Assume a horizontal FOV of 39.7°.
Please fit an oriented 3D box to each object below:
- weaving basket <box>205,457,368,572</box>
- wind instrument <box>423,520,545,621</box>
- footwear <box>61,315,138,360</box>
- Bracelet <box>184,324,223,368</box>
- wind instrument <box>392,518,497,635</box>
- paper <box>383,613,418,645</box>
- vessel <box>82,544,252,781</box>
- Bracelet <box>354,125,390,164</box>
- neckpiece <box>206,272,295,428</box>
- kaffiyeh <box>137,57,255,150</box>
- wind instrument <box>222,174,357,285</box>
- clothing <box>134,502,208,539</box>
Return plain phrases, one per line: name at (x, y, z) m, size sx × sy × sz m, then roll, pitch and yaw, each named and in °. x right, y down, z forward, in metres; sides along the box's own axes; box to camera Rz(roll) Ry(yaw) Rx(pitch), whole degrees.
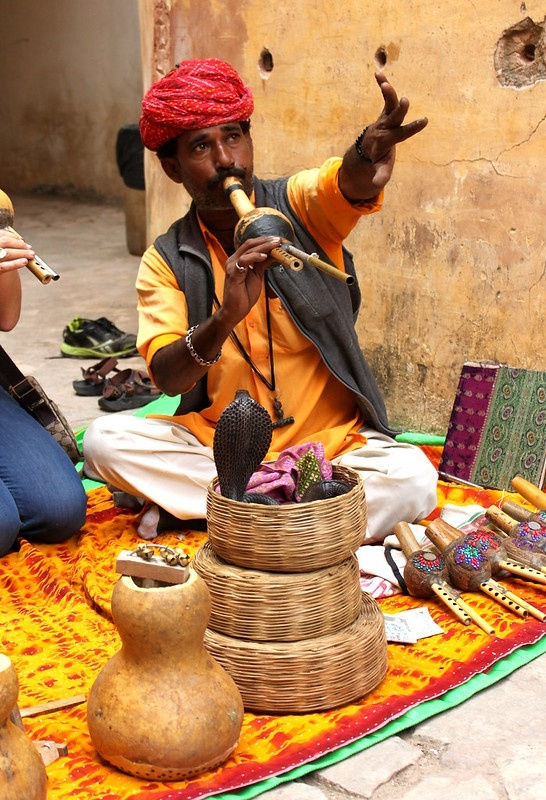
weaving basket at (0.032, 0.278, 1.714) m, size 0.360 × 0.188 × 0.307 m, roll 0°, pitch 7°, yaw -4°
wind instrument at (0.613, 0.495, 2.219) m, size 0.318 × 0.081 × 0.163 m, roll 29°, pitch -16°, yaw 19°
footwear at (-1.063, -0.456, 5.409) m, size 0.798 × 0.306 × 0.318 m, roll 0°, pitch 10°, yaw -5°
Bracelet at (-0.218, -0.165, 2.274) m, size 0.126 × 0.122 × 0.039 m, roll -6°, pitch 6°, yaw -1°
wind instrument at (0.476, 0.507, 2.213) m, size 0.092 × 0.119 × 0.354 m, roll -36°, pitch 44°, yaw -1°
paper at (0.341, 0.621, 2.034) m, size 0.085 × 0.003 × 0.087 m, roll 1°, pitch 17°, yaw 0°
vessel at (-0.199, 0.491, 1.404) m, size 0.287 × 0.441 × 0.198 m, roll -2°, pitch 8°, yaw -13°
Bracelet at (0.284, -0.725, 2.198) m, size 0.101 × 0.112 × 0.045 m, roll 6°, pitch -2°, yaw -25°
neckpiece at (-0.041, -0.130, 2.555) m, size 0.151 × 0.406 × 0.034 m, roll -15°, pitch 40°, yaw 7°
kaffiyeh at (-0.199, -0.946, 2.444) m, size 0.289 × 0.145 × 0.335 m, roll 4°, pitch 27°, yaw 46°
wind instrument at (0.017, -0.467, 2.017) m, size 0.169 × 0.185 × 0.689 m, roll -35°, pitch 28°, yaw -6°
clothing at (-0.384, 0.444, 2.769) m, size 0.198 × 0.078 × 0.141 m, roll -3°, pitch -18°, yaw 20°
